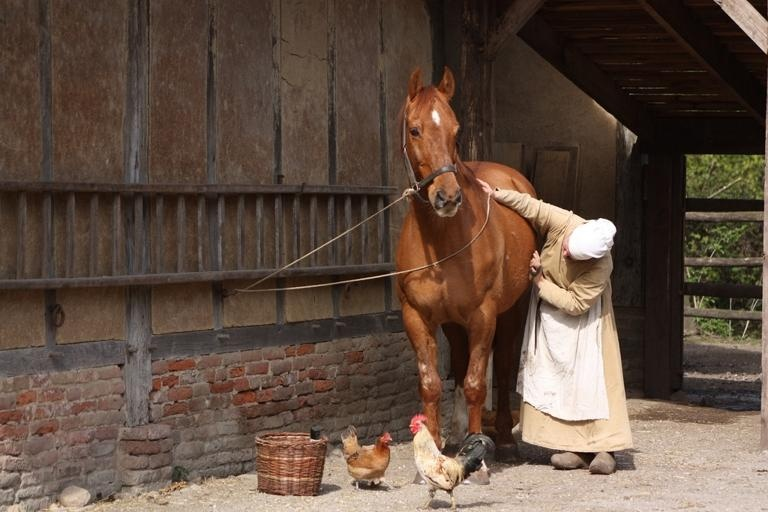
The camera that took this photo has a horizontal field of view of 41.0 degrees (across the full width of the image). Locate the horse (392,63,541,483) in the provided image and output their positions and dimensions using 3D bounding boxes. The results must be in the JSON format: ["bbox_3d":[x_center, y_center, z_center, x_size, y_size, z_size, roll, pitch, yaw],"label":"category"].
[{"bbox_3d":[0.797,0.297,9.941,1.058,3.876,3.606,3,7,19],"label":"horse"}]
